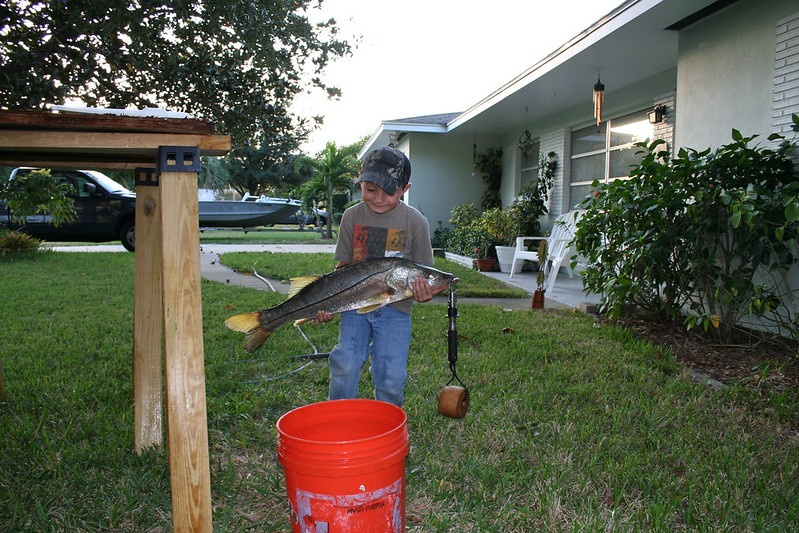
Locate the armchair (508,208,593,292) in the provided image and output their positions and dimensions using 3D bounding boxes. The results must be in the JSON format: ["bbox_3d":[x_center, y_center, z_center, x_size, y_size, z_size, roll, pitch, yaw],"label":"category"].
[{"bbox_3d":[2.537,-0.341,9.715,0.948,1.201,0.968,2,5,-5],"label":"armchair"}]

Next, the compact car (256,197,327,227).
[{"bbox_3d":[-4.560,-2.526,24.094,2.956,1.046,1.483,1,3,-21],"label":"compact car"}]

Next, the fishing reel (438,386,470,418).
[{"bbox_3d":[0.359,0.901,3.801,0.180,0.223,0.205,8,10,31],"label":"fishing reel"}]

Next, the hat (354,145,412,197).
[{"bbox_3d":[-0.103,-0.707,4.050,0.366,0.301,0.542,11,14,12],"label":"hat"}]

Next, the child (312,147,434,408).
[{"bbox_3d":[-0.185,0.288,3.949,0.861,2.193,0.823,1,10,-14],"label":"child"}]

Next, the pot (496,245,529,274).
[{"bbox_3d":[2.158,-0.138,11.216,0.433,0.487,0.457,2,7,0],"label":"pot"}]

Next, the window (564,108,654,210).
[{"bbox_3d":[3.904,-1.886,10.645,0.068,1.531,2.056,2,1,-26],"label":"window"}]

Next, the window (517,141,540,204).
[{"bbox_3d":[3.127,-2.316,13.522,0.042,1.222,0.960,11,21,44],"label":"window"}]
